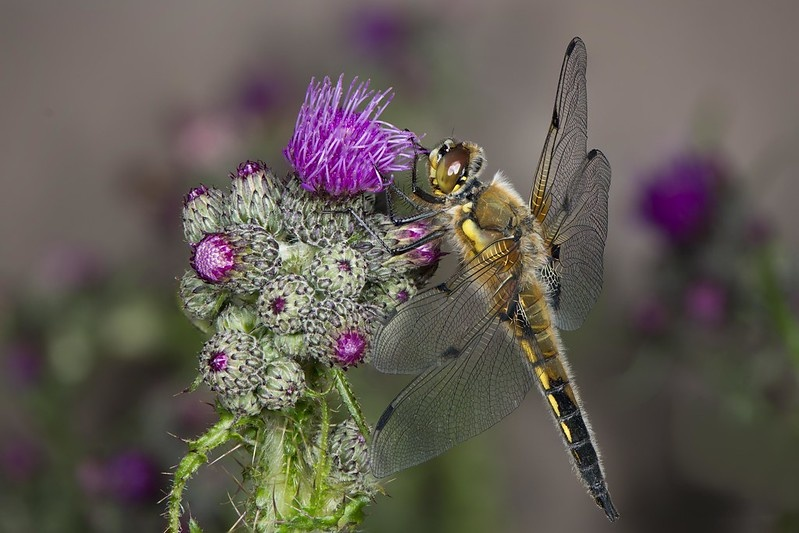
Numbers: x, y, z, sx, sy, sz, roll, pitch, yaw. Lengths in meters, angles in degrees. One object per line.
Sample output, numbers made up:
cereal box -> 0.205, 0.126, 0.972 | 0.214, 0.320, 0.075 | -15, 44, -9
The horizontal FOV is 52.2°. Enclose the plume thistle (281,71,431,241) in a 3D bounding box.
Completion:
plume thistle -> -0.262, -0.756, 4.763 | 0.637, 1.258, 0.889 | 20, 28, 37

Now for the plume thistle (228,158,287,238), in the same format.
plume thistle -> -0.796, -0.390, 4.685 | 0.338, 0.436, 0.379 | -14, 25, -9

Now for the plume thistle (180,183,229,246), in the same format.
plume thistle -> -1.101, -0.323, 4.708 | 0.238, 0.342, 0.339 | 17, 25, 36
